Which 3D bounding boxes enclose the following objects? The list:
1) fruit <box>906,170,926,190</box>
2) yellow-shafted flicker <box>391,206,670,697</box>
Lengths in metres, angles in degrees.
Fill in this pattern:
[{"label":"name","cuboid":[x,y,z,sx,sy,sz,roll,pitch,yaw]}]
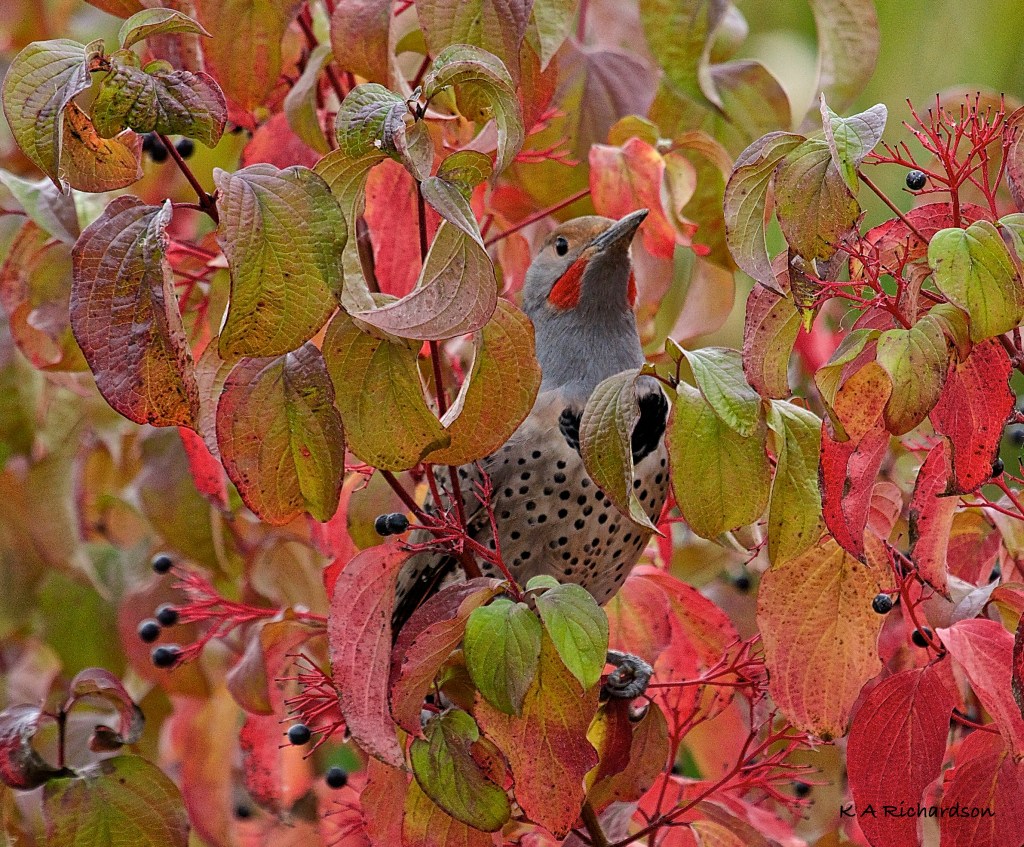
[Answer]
[{"label":"fruit","cuboid":[0.571,-0.341,2.581,0.023,0.030,0.026,8,53,38]},{"label":"yellow-shafted flicker","cuboid":[0.050,0.041,3.146,0.348,0.640,0.940,-15,113,-32]}]
